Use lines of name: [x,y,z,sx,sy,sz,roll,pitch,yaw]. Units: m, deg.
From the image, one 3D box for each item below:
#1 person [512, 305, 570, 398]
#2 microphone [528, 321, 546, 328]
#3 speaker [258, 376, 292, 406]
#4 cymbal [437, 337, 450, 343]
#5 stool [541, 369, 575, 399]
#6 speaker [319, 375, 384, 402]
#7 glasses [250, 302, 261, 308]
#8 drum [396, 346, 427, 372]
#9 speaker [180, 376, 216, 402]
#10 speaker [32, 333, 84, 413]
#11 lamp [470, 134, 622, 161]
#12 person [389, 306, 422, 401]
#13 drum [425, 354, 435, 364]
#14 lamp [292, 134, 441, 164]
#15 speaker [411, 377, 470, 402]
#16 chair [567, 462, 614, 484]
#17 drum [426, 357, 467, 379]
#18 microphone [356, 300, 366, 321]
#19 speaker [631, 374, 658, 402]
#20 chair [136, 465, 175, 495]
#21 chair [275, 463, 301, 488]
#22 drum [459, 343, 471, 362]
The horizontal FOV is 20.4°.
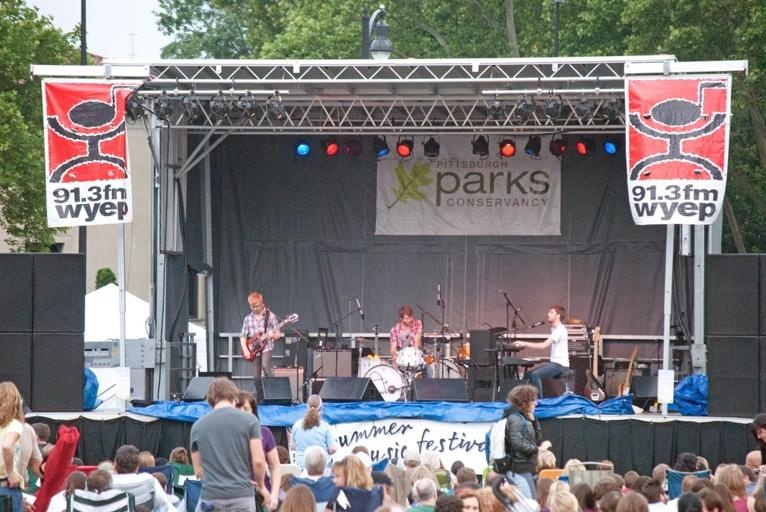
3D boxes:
person: [3.485,1.994,45.572,1.212,2.105,0.981,3,18,11]
microphone: [3.570,1.575,48.551,0.359,0.070,0.057,-18,37,10]
speaker: [-2.235,2.852,44.951,0.758,0.521,0.682,4,-19,-16]
cymbal: [1.417,1.936,48.960,0.216,0.129,0.193,0,1,2]
stool: [3.832,2.833,46.601,0.772,0.882,0.721,-4,-4,26]
speaker: [-0.763,2.820,44.955,0.898,0.324,0.613,-4,-6,25]
glasses: [-2.769,1.086,46.621,0.232,0.096,0.202,0,-4,-4]
drum: [0.622,2.247,46.348,0.534,0.320,0.522,0,-17,0]
speaker: [-3.966,2.858,45.268,0.969,0.690,0.651,0,0,-17]
speaker: [-6.782,2.408,44.110,1.049,1.625,0.307,0,-4,-15]
lamp: [3.745,-2.566,48.961,3.281,0.517,1.008,-1,-4,-2]
person: [0.504,2.102,46.933,0.704,1.944,0.647,1,3,6]
drum: [1.013,2.263,46.732,0.195,0.176,0.209,1,-7,-41]
lamp: [-0.353,-2.515,49.425,3.315,0.497,1.142,-1,-4,-3]
speaker: [1.230,2.823,44.705,1.153,0.500,0.437,-1,-4,0]
chair: [3.949,4.101,39.938,0.849,0.423,1.463,-1,-4,5]
drum: [1.456,2.493,47.661,0.617,0.557,0.605,-2,8,1]
microphone: [-0.492,1.255,49.220,0.185,0.574,0.137,-16,-32,-19]
speaker: [5.643,2.803,45.425,0.539,0.355,0.516,0,-2,15]
chair: [-4.337,4.269,40.573,0.528,0.472,0.623,1,4,1]
chair: [-1.805,4.126,40.380,0.414,0.614,0.349,-3,-7,33]
drum: [1.853,2.166,47.091,0.265,0.307,0.251,-2,16,-2]
